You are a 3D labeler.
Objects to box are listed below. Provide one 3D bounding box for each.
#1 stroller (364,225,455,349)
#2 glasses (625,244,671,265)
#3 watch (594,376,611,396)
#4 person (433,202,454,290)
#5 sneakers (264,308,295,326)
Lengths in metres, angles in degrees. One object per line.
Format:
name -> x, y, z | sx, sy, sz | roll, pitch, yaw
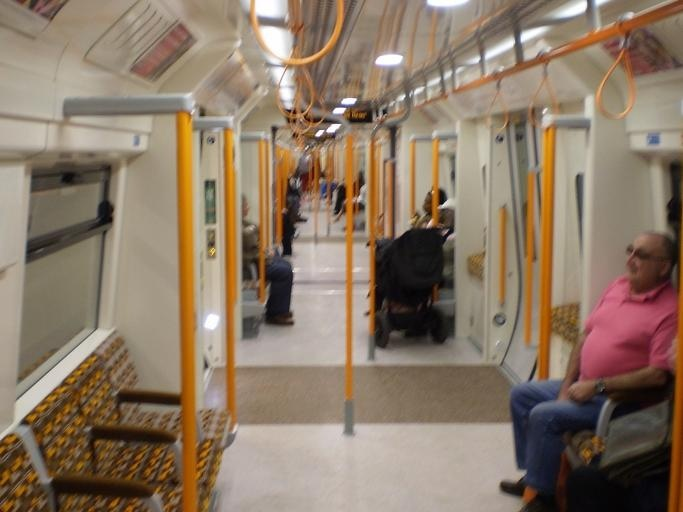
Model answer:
stroller -> 0.909, 0.393, 6.284 | 0.958, 1.455, 0.676 | 0, 9, -3
glasses -> 1.868, -0.020, 3.007 | 0.221, 0.084, 0.109 | 7, 11, 34
watch -> 1.557, 0.785, 2.954 | 0.090, 0.105, 0.062 | 8, -1, -35
person -> 1.340, -0.242, 6.767 | 0.291, 1.313, 0.303 | -3, -10, 35
sneakers -> -0.905, 0.882, 7.179 | 0.319, 0.131, 0.199 | -7, 11, 4
